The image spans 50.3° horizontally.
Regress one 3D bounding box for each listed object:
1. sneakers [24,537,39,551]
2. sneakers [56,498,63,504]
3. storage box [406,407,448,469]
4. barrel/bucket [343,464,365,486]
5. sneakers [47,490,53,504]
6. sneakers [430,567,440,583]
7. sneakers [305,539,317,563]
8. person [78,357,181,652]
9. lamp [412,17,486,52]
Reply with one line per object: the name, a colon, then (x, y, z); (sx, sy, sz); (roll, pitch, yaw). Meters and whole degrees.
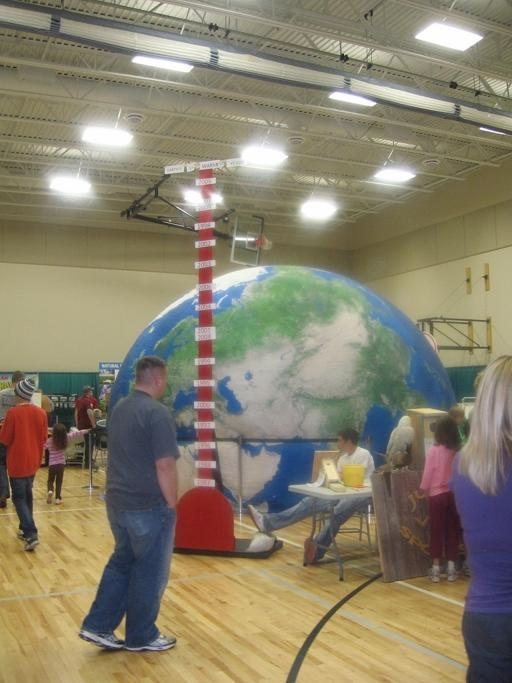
sneakers: (-2.622, 2.351, 6.369); (0.111, 0.121, 0.273); (2, -3, -11)
sneakers: (-3.416, 2.787, 9.471); (0.104, 0.102, 0.157); (5, -10, -29)
storage box: (1.848, 1.120, 5.950); (0.337, 0.608, 0.445); (2, -7, -14)
barrel/bucket: (0.929, 1.292, 5.254); (0.202, 0.148, 0.196); (0, -16, 0)
sneakers: (-3.624, 2.742, 9.578); (0.107, 0.278, 0.120); (2, -8, -5)
sneakers: (1.636, 2.140, 5.009); (0.080, 0.125, 0.130); (0, -14, -4)
sneakers: (0.540, 2.126, 5.504); (0.158, 0.217, 0.053); (0, 3, -12)
person: (-0.693, 0.986, 3.195); (0.500, 1.778, 0.625); (5, -10, -28)
lamp: (3.548, -5.645, 10.117); (1.038, 0.250, 0.637); (3, -10, -17)
